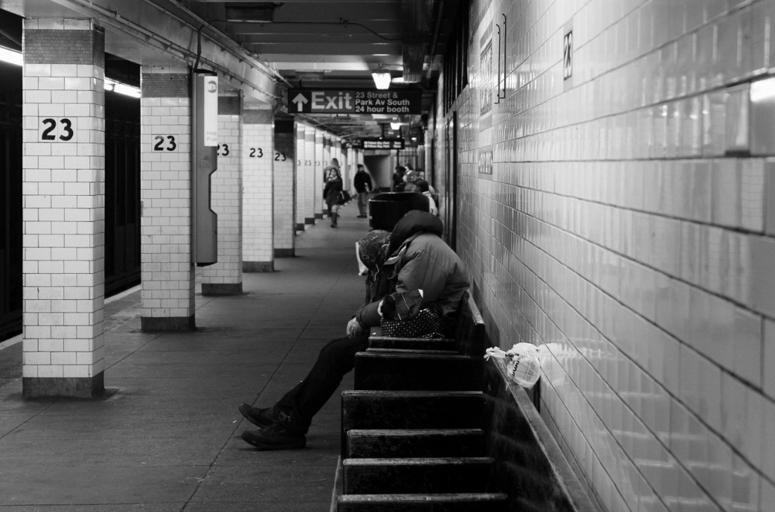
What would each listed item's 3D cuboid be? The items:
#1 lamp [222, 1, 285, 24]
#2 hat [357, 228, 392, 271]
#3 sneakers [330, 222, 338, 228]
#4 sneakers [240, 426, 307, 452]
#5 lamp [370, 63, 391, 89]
[{"bbox_3d":[-2.086,-3.715,10.437,0.654,0.372,0.653,1,10,2],"label":"lamp"},{"bbox_3d":[-0.139,-0.052,6.794,0.380,0.429,0.311,0,-1,2],"label":"hat"},{"bbox_3d":[-2.237,-1.277,28.709,0.248,0.186,0.368,-1,-2,-9],"label":"sneakers"},{"bbox_3d":[-0.933,1.520,5.777,0.549,0.261,0.206,7,0,-7],"label":"sneakers"},{"bbox_3d":[-0.168,-3.644,13.442,0.454,0.183,0.481,0,-19,9],"label":"lamp"}]
